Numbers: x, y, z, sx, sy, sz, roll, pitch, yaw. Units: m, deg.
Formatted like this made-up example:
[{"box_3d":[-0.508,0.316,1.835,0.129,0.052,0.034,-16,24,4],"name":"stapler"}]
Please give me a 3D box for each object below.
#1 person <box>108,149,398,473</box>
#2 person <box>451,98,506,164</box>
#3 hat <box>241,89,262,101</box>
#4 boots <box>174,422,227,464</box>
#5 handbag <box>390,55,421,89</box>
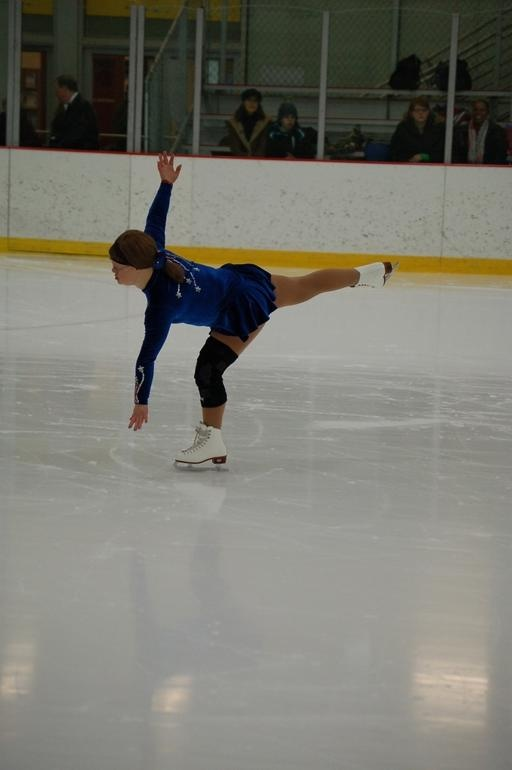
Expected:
[{"box_3d":[0.017,-0.198,2.606,1.061,0.829,0.345,-4,11,-32],"name":"person"},{"box_3d":[2.329,-2.633,8.898,0.588,0.667,0.271,8,9,10],"name":"person"},{"box_3d":[-0.048,-3.093,9.037,0.159,0.119,0.168,1,1,-29],"name":"hat"},{"box_3d":[-0.147,0.171,2.440,0.123,0.099,0.137,7,8,8],"name":"boots"},{"box_3d":[1.570,-3.325,9.076,0.328,0.342,0.155,8,9,8],"name":"handbag"}]
